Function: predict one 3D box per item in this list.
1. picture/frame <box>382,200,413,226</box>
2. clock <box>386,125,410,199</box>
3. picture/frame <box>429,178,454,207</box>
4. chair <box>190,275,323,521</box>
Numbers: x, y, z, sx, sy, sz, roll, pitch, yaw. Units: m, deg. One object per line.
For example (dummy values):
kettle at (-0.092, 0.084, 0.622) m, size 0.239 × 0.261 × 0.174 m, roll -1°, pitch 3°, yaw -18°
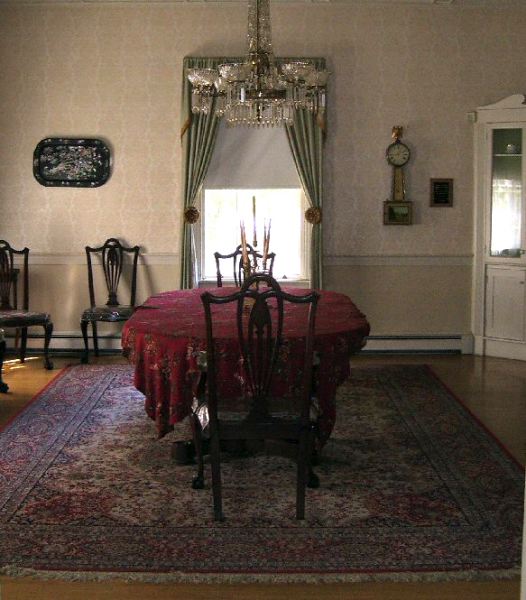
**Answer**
picture/frame at (1.271, -0.816, 5.699) m, size 0.273 × 0.204 × 0.241 m, roll -1°, pitch 3°, yaw 3°
clock at (1.273, -1.274, 5.674) m, size 0.234 × 0.695 × 0.130 m, roll -1°, pitch 8°, yaw 4°
picture/frame at (1.688, -1.032, 5.715) m, size 0.326 × 0.331 × 0.031 m, roll 0°, pitch 1°, yaw -1°
chair at (-0.036, 0.357, 2.678) m, size 0.565 × 1.000 × 0.990 m, roll -1°, pitch 8°, yaw 4°
